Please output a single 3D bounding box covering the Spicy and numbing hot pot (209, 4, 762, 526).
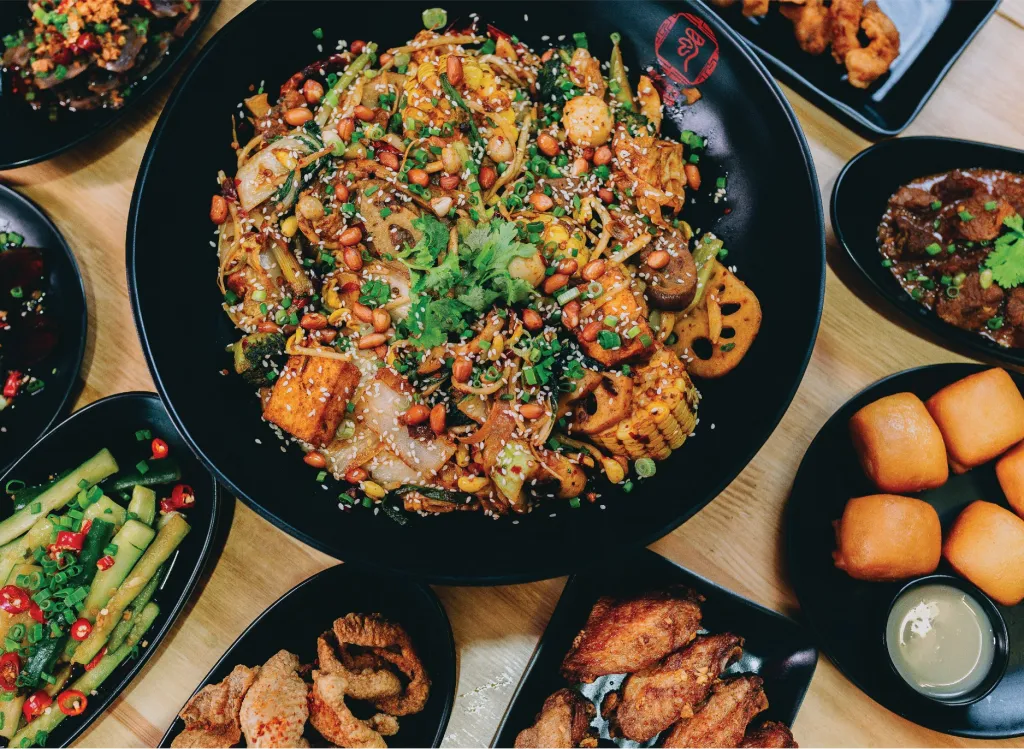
[{"bbox_3d":[-0.166,-0.601,6.276,2.625,1.141,4.463,6,88,9],"label":"Spicy and numbing hot pot"}]

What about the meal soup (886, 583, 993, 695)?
[{"bbox_3d":[2.649,1.656,6.385,0.661,0.159,0.674,-31,81,-7],"label":"meal soup"}]
